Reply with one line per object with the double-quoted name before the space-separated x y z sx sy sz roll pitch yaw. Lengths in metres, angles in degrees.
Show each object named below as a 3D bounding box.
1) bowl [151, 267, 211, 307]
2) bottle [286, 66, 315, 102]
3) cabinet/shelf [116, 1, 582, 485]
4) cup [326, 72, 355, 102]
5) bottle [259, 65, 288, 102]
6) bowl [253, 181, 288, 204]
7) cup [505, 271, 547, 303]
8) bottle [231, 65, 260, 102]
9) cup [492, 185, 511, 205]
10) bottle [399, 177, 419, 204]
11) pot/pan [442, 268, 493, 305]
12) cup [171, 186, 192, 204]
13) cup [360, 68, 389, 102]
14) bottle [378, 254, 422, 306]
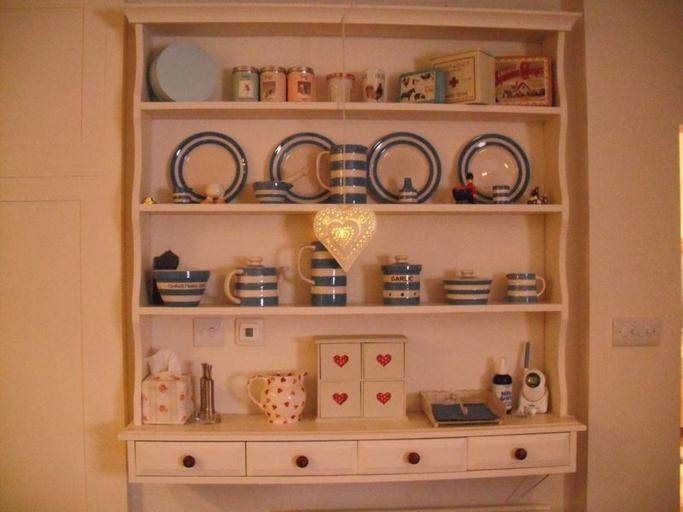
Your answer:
"bowl" -0.672 0.130 3.296 0.171 0.108 0.175 -1 -5 0
"bottle" -0.168 -0.720 3.360 0.132 0.159 0.137 1 2 11
"cabinet/shelf" -0.035 -0.057 3.391 2.013 2.020 0.606 0 -2 -6
"cup" -0.004 -0.717 3.416 0.120 0.111 0.124 0 -1 0
"bottle" -0.294 -0.717 3.363 0.135 0.153 0.136 0 -1 -26
"bowl" -0.298 -0.263 3.320 0.115 0.059 0.096 0 -1 -5
"cup" 0.812 0.138 3.450 0.180 0.130 0.185 -2 -1 0
"bottle" -0.406 -0.725 3.346 0.126 0.149 0.136 0 -2 -4
"cup" 0.686 -0.262 3.436 0.077 0.078 0.071 1 -4 0
"bottle" 0.285 -0.280 3.364 0.092 0.134 0.095 -1 0 0
"pot/pan" 0.556 0.136 3.439 0.220 0.136 0.205 -2 -1 7
"cup" -0.671 -0.256 3.335 0.070 0.069 0.063 1 -2 3
"cup" 0.144 -0.726 3.374 0.128 0.138 0.117 0 5 0
"bottle" 0.250 0.104 3.436 0.189 0.212 0.194 0 -5 -1
